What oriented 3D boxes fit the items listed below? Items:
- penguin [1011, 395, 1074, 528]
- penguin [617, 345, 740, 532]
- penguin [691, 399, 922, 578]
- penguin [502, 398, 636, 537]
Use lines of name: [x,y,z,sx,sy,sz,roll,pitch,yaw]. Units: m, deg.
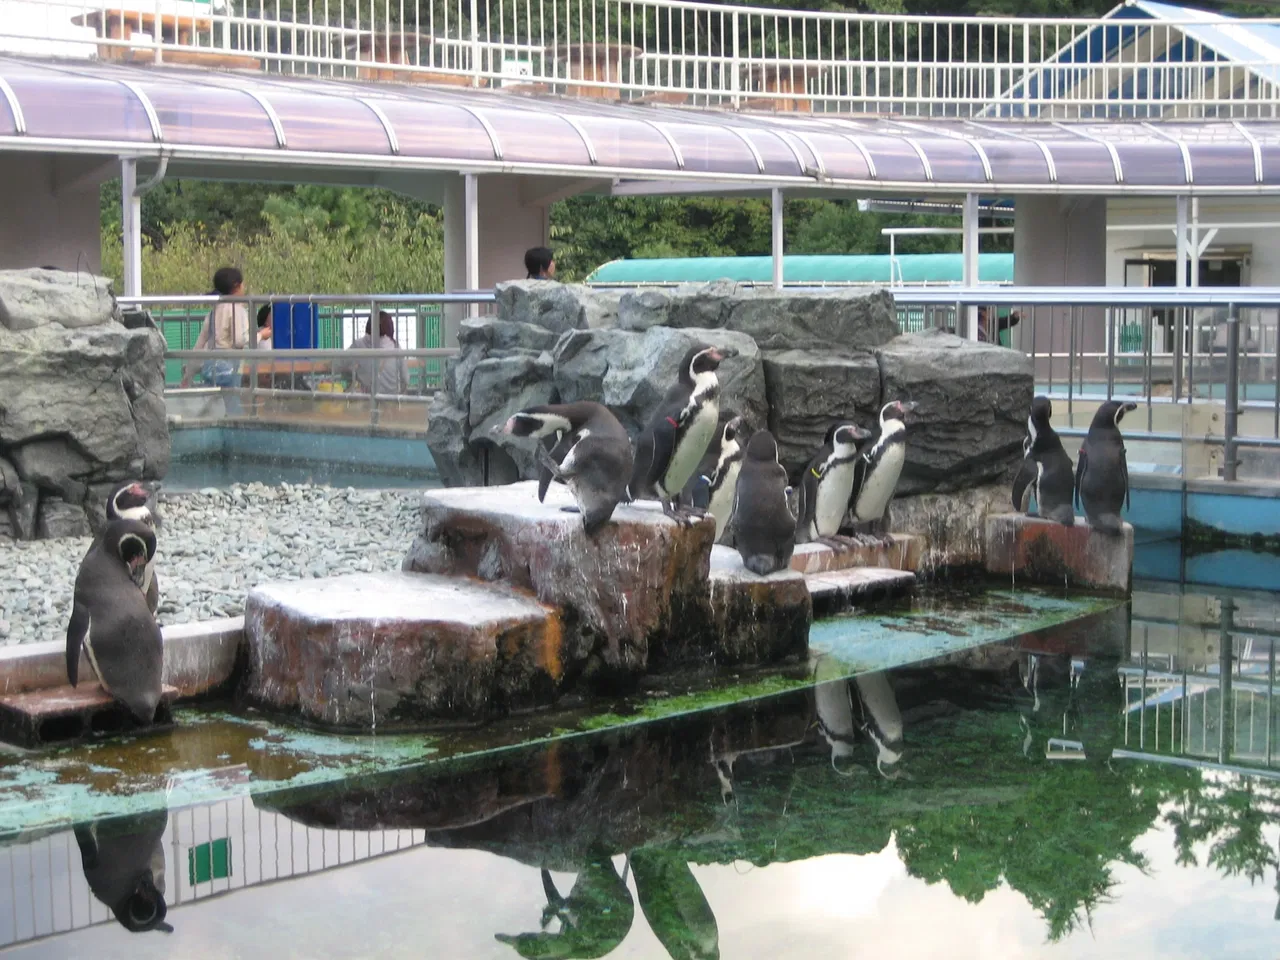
penguin: [2.683,-0.153,11.019,0.382,0.821,0.572,0,3,4]
penguin: [0.204,-0.245,9.221,0.502,0.936,0.494,-1,11,-21]
penguin: [0.858,0.077,10.007,0.900,1.047,0.788,-1,10,-17]
penguin: [-0.354,-0.138,8.910,0.549,0.808,0.589,5,10,30]
